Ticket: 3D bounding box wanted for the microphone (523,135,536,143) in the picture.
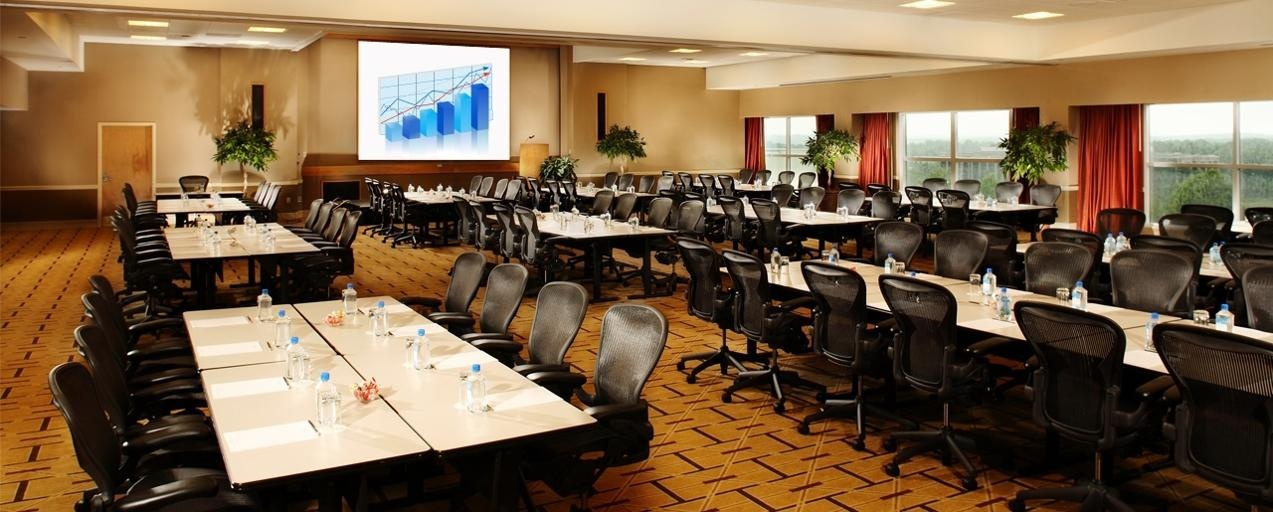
[{"bbox_3d":[-3.696,-4.032,24.116,0.426,0.218,0.244,-8,-20,33],"label":"microphone"}]
